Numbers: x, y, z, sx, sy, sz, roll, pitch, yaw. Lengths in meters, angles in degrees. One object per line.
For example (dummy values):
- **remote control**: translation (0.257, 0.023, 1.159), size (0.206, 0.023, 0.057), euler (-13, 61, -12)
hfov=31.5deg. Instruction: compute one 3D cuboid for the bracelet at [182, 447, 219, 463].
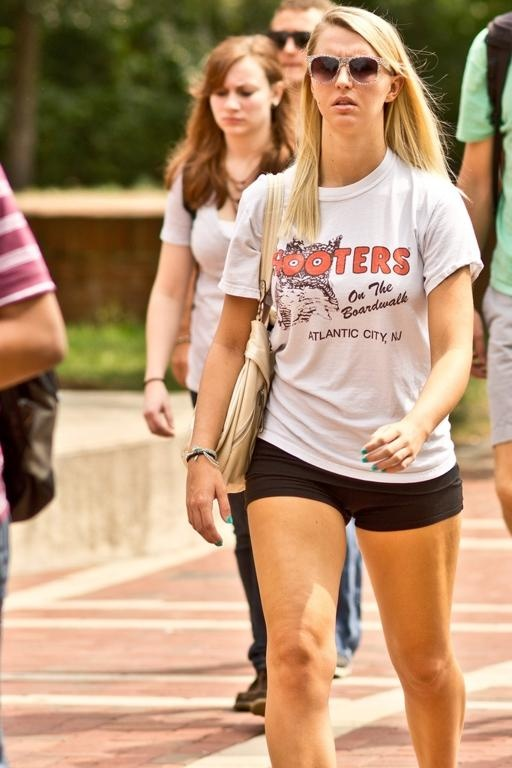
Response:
- **bracelet**: translation (-0.130, 0.161, 2.125), size (0.044, 0.024, 0.049), euler (14, 3, -5)
